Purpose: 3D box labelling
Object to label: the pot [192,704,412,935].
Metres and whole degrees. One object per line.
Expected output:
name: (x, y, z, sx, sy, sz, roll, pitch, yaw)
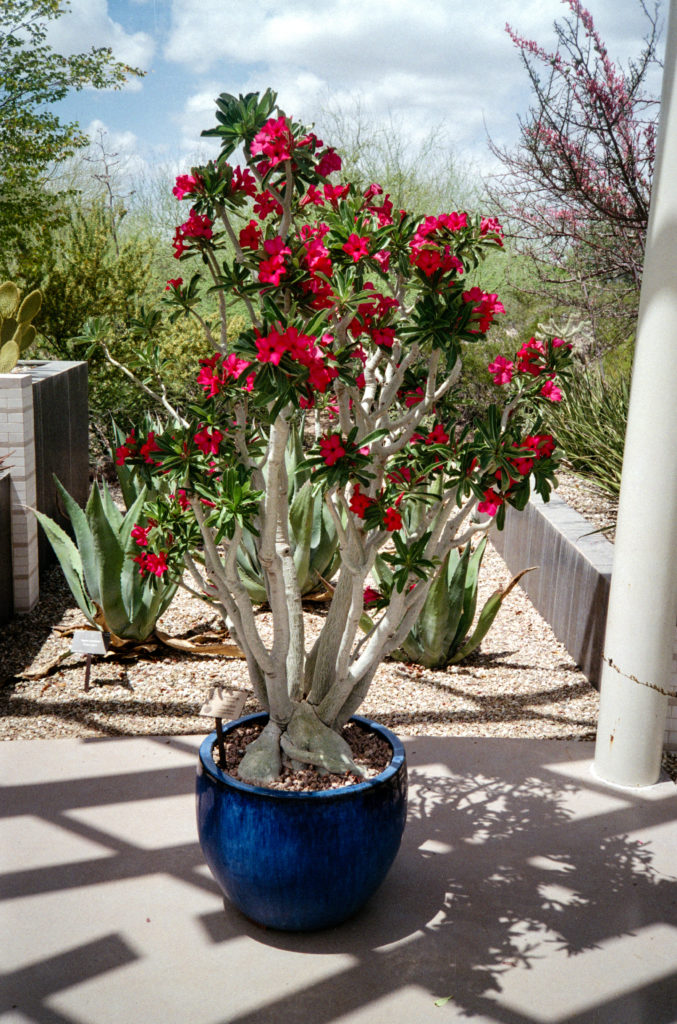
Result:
pot: (-0.084, 0.701, 1.771, 0.489, 0.328, 0.485, 0, 7, 0)
